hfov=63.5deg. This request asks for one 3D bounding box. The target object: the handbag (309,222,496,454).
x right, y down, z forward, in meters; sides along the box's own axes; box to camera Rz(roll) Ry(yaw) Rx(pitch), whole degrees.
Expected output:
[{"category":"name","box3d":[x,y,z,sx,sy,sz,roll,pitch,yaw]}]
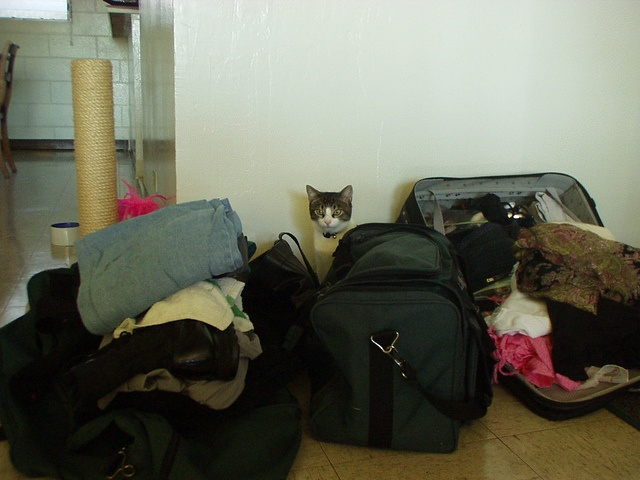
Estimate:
[{"category":"handbag","box3d":[0.181,0.213,1.406,0.481,0.467,0.484,0,17,8]}]

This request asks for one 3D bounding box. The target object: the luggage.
[{"category":"luggage","box3d":[0.614,0.151,1.657,0.584,0.788,0.261,-5,-25,0]}]
